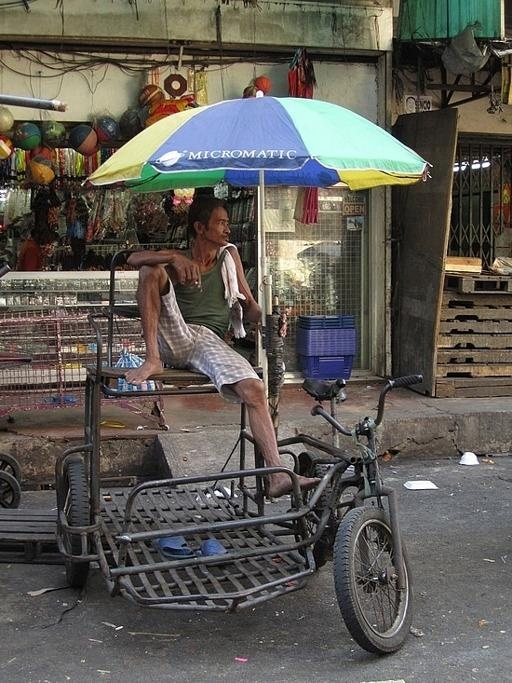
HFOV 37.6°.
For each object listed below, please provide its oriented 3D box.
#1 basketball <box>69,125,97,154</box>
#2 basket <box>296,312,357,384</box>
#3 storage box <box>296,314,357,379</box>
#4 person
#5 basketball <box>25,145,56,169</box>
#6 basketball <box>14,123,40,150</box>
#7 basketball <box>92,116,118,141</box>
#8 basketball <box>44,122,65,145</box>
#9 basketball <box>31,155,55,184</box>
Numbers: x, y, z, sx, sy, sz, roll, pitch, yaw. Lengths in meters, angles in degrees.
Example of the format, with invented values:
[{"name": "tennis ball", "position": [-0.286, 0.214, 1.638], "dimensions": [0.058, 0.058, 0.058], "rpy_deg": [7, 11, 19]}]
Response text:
[{"name": "basketball", "position": [-1.811, -2.051, 7.971], "dimensions": [0.298, 0.306, 0.279], "rpy_deg": [6, -19, -25]}, {"name": "basket", "position": [0.805, 0.085, 8.649], "dimensions": [0.845, 0.872, 0.668], "rpy_deg": [-1, 5, -8]}, {"name": "storage box", "position": [0.798, 0.093, 8.653], "dimensions": [0.845, 0.873, 0.654], "rpy_deg": [-1, 5, -8]}, {"name": "person", "position": [-0.117, -0.043, 3.917], "dimensions": [1.371, 1.398, 0.842], "rpy_deg": [14, 13, 43]}, {"name": "basketball", "position": [-2.329, -1.978, 8.113], "dimensions": [0.198, 0.255, 0.261], "rpy_deg": [26, -1, 19]}, {"name": "basketball", "position": [-2.379, -2.102, 7.789], "dimensions": [0.195, 0.212, 0.200], "rpy_deg": [-12, -35, 10]}, {"name": "basketball", "position": [-1.584, -2.226, 7.958], "dimensions": [0.210, 0.230, 0.252], "rpy_deg": [-19, 20, 2]}, {"name": "basketball", "position": [-2.142, -2.179, 7.917], "dimensions": [0.206, 0.258, 0.263], "rpy_deg": [-2, 2, -22]}, {"name": "basketball", "position": [-2.335, -1.833, 8.143], "dimensions": [0.216, 0.216, 0.271], "rpy_deg": [14, 9, -30]}]
